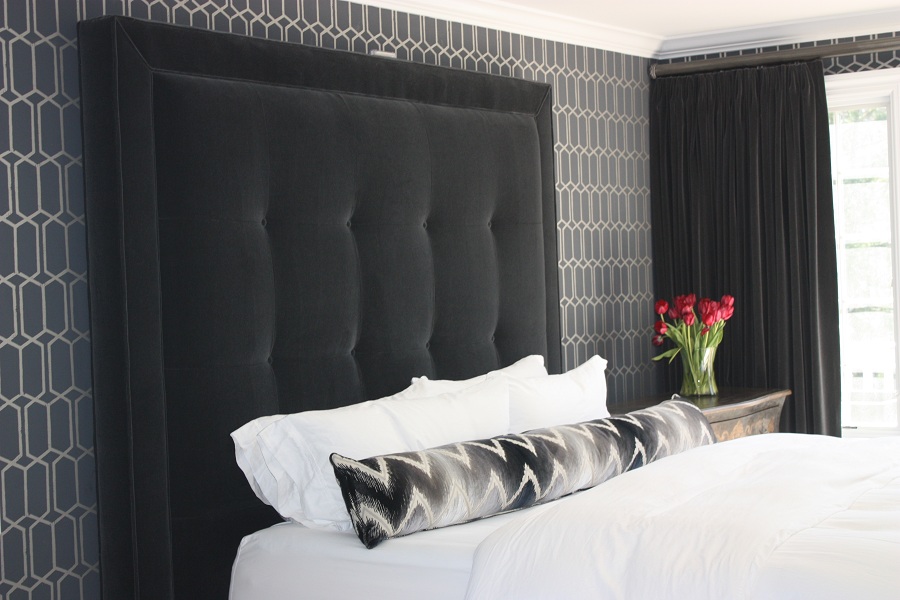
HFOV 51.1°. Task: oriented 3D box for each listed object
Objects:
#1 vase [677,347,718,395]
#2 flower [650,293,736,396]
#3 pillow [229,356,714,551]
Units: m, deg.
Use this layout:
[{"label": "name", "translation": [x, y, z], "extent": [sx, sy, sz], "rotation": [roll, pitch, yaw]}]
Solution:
[{"label": "vase", "translation": [1.350, 0.377, 4.917], "extent": [0.179, 0.269, 0.177], "rotation": [-2, 0, 42]}, {"label": "flower", "translation": [1.266, 0.214, 5.148], "extent": [0.470, 0.671, 0.535], "rotation": [-1, 0, 5]}, {"label": "pillow", "translation": [0.069, 0.576, 3.712], "extent": [1.759, 0.490, 0.610], "rotation": [-5, 3, -23]}]
